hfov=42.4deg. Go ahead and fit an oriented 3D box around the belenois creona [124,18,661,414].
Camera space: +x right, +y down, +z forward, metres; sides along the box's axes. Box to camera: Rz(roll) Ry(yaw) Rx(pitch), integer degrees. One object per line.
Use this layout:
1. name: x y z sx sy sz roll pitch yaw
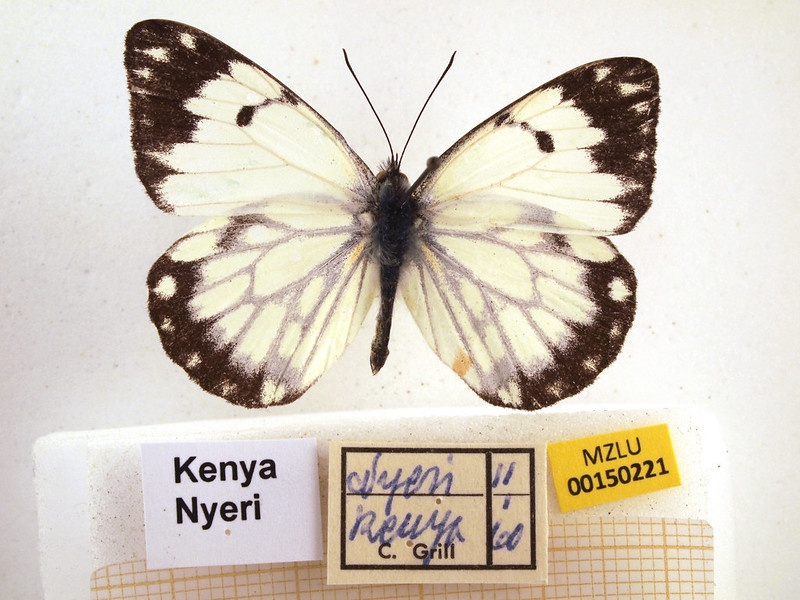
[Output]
1. belenois creona: -0.025 -0.146 1.798 0.572 0.473 0.132 3 9 -5
